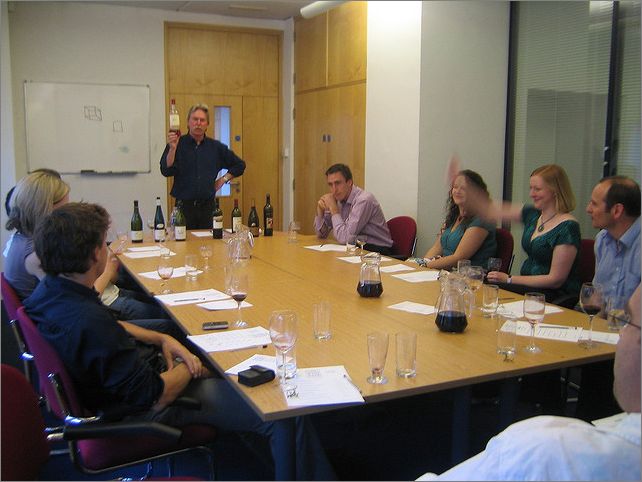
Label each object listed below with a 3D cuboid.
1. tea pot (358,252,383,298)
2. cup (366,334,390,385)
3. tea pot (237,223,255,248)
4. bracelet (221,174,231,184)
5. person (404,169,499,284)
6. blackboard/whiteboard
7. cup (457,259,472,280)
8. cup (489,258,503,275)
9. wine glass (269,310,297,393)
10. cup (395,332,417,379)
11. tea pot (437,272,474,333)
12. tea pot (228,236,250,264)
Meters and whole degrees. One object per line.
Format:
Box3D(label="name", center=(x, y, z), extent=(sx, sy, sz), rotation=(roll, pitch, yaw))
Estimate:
Box3D(label="tea pot", center=(0.298, 0.215, 2.893), extent=(0.158, 0.251, 0.205), rotation=(-1, 0, -26))
Box3D(label="cup", center=(0.204, 0.403, 1.843), extent=(0.070, 0.160, 0.206), rotation=(0, 9, 8))
Box3D(label="tea pot", center=(-0.630, -0.034, 4.200), extent=(0.207, 0.246, 0.135), rotation=(-2, 6, -16))
Box3D(label="bracelet", center=(-1.056, -0.689, 5.642), extent=(0.084, 0.073, 0.118), rotation=(-1, 8, -14))
Box3D(label="person", center=(1.079, -0.131, 4.419), extent=(0.735, 1.379, 0.641), rotation=(2, 1, -3))
Box3D(label="blackboard/whiteboard", center=(-3.020, -1.462, 6.623), extent=(1.537, 1.181, 0.068), rotation=(-5, 9, -22))
Box3D(label="cup", center=(0.817, 0.166, 2.910), extent=(0.079, 0.150, 0.083), rotation=(0, -1, 0))
Box3D(label="cup", center=(1.140, 0.160, 3.280), extent=(0.097, 0.123, 0.106), rotation=(-1, 1, 0))
Box3D(label="wine glass", center=(-0.133, 0.372, 1.797), extent=(0.091, 0.241, 0.245), rotation=(-2, 9, -5))
Box3D(label="cup", center=(0.305, 0.409, 1.820), extent=(0.073, 0.147, 0.075), rotation=(-1, 8, 0))
Box3D(label="tea pot", center=(0.662, 0.290, 2.320), extent=(0.241, 0.277, 0.163), rotation=(2, 3, 27))
Box3D(label="tea pot", center=(-0.584, 0.065, 3.642), extent=(0.117, 0.218, 0.198), rotation=(0, -2, 1))
